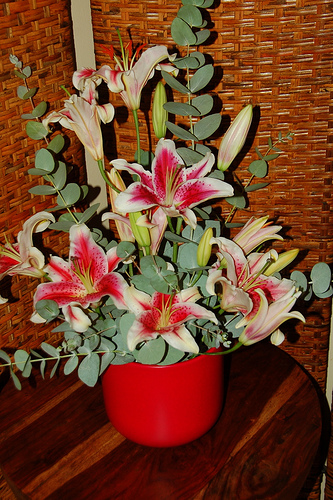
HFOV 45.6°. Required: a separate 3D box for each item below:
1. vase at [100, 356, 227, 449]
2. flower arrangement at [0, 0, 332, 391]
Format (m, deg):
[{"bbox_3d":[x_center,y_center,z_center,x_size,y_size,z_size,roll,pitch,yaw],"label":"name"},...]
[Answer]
[{"bbox_3d":[-0.004,0.169,0.457,0.148,0.103,0.136,-1,-7,2],"label":"vase"},{"bbox_3d":[0.012,-0.016,0.586,0.482,0.579,0.260,-5,-3,6],"label":"flower arrangement"}]
